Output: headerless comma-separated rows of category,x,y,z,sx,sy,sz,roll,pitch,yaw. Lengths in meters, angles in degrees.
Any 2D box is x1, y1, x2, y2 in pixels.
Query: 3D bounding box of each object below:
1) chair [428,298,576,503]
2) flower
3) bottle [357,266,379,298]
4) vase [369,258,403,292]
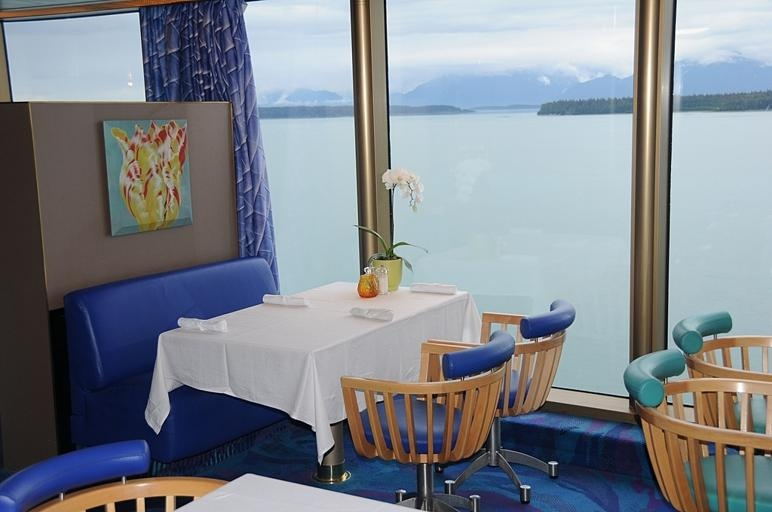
chair,0.747,0.809,4.387,1.050,1.494,1.161,4,9,25
flower,0.100,-0.236,4.678,0.403,0.889,0.841,-1,14,4
bottle,-0.138,0.190,4.355,0.178,0.260,0.176,1,0,0
vase,0.004,0.139,4.341,0.232,0.233,0.186,0,5,8
